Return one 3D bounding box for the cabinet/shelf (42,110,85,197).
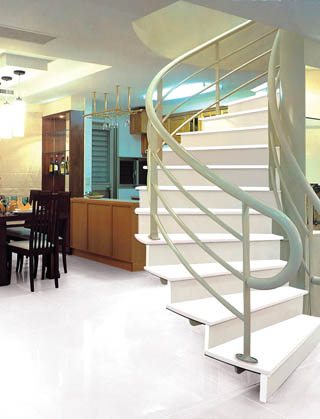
[{"bbox_3d":[-1.967,-1.102,6.747,0.347,1.659,1.296,-1,0,-42],"label":"cabinet/shelf"}]

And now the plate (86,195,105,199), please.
[{"bbox_3d":[-1.121,-0.221,5.768,0.253,0.058,0.293,-1,0,-17],"label":"plate"}]
